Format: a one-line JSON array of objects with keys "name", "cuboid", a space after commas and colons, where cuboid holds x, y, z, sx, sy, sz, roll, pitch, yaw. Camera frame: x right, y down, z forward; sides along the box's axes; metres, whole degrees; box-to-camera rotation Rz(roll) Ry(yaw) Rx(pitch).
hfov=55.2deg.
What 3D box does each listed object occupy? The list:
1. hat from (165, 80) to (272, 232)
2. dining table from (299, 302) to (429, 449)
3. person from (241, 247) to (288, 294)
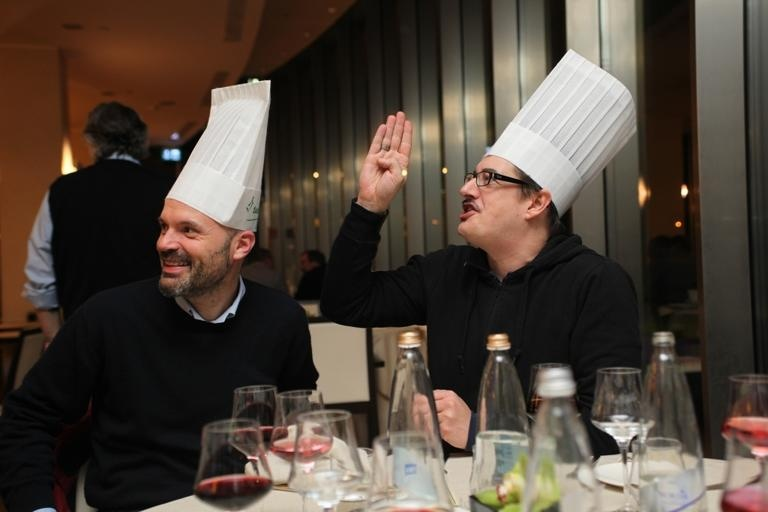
[{"name": "hat", "cuboid": [-0.631, -0.404, 2.931, 0.381, 0.610, 0.346, 9, -1, 29]}, {"name": "dining table", "cuboid": [-0.107, 0.742, 4.496, 0.659, 1.546, 0.721, -2, 2, -1]}, {"name": "person", "cuboid": [-0.813, 0.095, 5.061, 0.277, 0.266, 0.754, 7, 6, -7]}]
